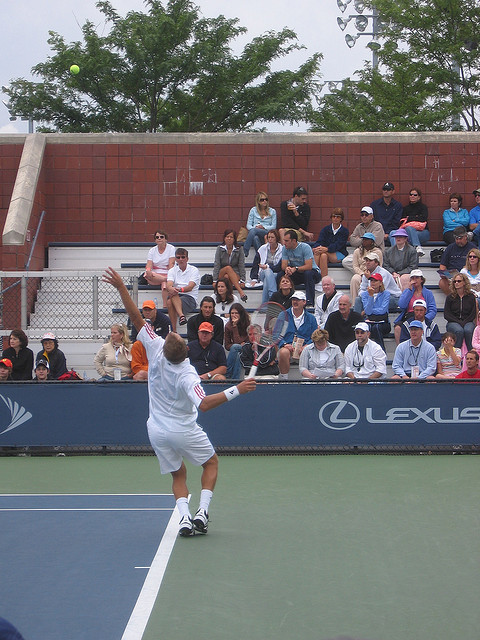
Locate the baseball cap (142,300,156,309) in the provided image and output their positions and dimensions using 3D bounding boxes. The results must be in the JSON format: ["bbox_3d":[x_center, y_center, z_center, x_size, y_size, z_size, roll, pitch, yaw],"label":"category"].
[{"bbox_3d":[-1.148,-0.180,16.081,0.154,0.113,0.291,-6,8,-5],"label":"baseball cap"}]

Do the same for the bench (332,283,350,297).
[{"bbox_3d":[1.462,-0.409,18.626,0.229,0.225,0.125,0,-6,1],"label":"bench"}]

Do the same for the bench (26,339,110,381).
[{"bbox_3d":[-2.503,0.225,18.289,1.425,0.954,0.524,0,-2,-3],"label":"bench"}]

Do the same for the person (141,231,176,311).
[{"bbox_3d":[-1.205,-0.745,19.014,0.418,1.219,0.378,-2,7,-44],"label":"person"}]

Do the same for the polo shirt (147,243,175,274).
[{"bbox_3d":[-1.166,-0.881,19.095,0.483,0.575,0.261,1,-11,0],"label":"polo shirt"}]

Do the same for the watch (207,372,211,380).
[{"bbox_3d":[-0.388,0.698,15.894,0.028,0.050,0.048,-12,-25,-16],"label":"watch"}]

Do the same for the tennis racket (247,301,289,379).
[{"bbox_3d":[0.216,0.149,12.087,0.345,0.071,1.249,-12,26,15],"label":"tennis racket"}]

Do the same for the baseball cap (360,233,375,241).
[{"bbox_3d":[1.956,-1.225,19.146,0.160,0.084,0.112,13,-7,-36],"label":"baseball cap"}]

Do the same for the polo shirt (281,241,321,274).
[{"bbox_3d":[0.841,-0.938,18.857,0.456,0.319,0.240,-3,8,12],"label":"polo shirt"}]

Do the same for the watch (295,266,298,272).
[{"bbox_3d":[0.823,-0.719,18.642,0.040,0.067,0.066,4,9,-7],"label":"watch"}]

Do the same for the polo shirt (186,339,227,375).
[{"bbox_3d":[-0.386,0.501,16.203,0.635,0.548,0.361,-1,-11,4],"label":"polo shirt"}]

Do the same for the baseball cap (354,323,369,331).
[{"bbox_3d":[1.536,0.109,16.147,0.159,0.114,0.240,-4,8,8],"label":"baseball cap"}]

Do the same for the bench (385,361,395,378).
[{"bbox_3d":[2.076,0.673,17.793,0.080,0.224,0.499,-4,8,7],"label":"bench"}]

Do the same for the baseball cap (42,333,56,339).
[{"bbox_3d":[-2.443,0.217,16.348,0.151,0.073,0.242,-6,8,-9],"label":"baseball cap"}]

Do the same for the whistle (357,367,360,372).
[{"bbox_3d":[1.498,0.634,16.207,0.029,0.053,0.017,0,9,32],"label":"whistle"}]

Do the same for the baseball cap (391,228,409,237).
[{"bbox_3d":[2.451,-1.303,19.609,0.192,0.102,0.279,-2,-7,21],"label":"baseball cap"}]

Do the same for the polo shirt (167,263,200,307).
[{"bbox_3d":[-0.831,-0.493,18.469,0.379,0.518,0.314,2,-8,14],"label":"polo shirt"}]
